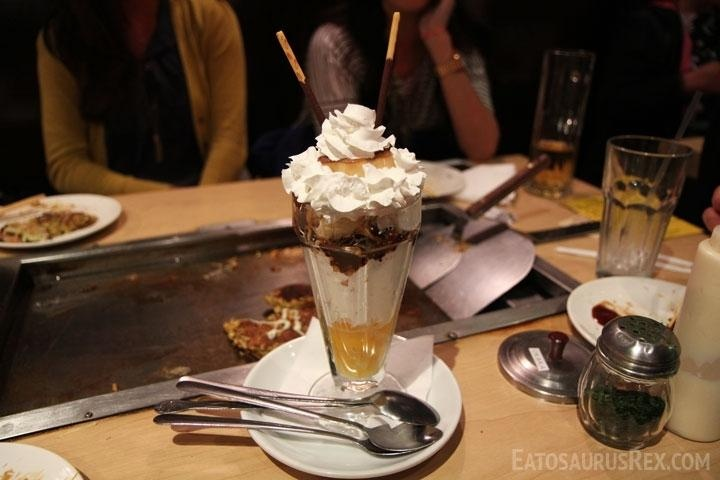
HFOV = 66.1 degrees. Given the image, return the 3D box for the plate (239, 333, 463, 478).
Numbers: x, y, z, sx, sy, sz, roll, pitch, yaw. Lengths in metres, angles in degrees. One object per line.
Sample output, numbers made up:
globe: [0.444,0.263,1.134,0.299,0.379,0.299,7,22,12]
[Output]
plate: [-0.009,0.416,1.276,0.349,0.046,0.330,0,32,-2]

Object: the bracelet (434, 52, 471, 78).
bracelet: [0.402,-0.754,2.408,0.103,0.027,0.100,-29,-1,-20]

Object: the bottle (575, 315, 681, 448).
bottle: [0.635,0.344,1.297,0.199,0.276,0.191,1,31,-1]

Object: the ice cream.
ice cream: [0.000,0.007,1.395,0.355,0.619,0.328,-24,38,-26]

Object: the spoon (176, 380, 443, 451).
spoon: [-0.137,0.411,1.267,0.668,0.073,0.142,6,41,-4]

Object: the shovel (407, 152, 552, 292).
shovel: [0.470,-0.033,1.931,0.664,0.138,0.299,-42,39,-9]
